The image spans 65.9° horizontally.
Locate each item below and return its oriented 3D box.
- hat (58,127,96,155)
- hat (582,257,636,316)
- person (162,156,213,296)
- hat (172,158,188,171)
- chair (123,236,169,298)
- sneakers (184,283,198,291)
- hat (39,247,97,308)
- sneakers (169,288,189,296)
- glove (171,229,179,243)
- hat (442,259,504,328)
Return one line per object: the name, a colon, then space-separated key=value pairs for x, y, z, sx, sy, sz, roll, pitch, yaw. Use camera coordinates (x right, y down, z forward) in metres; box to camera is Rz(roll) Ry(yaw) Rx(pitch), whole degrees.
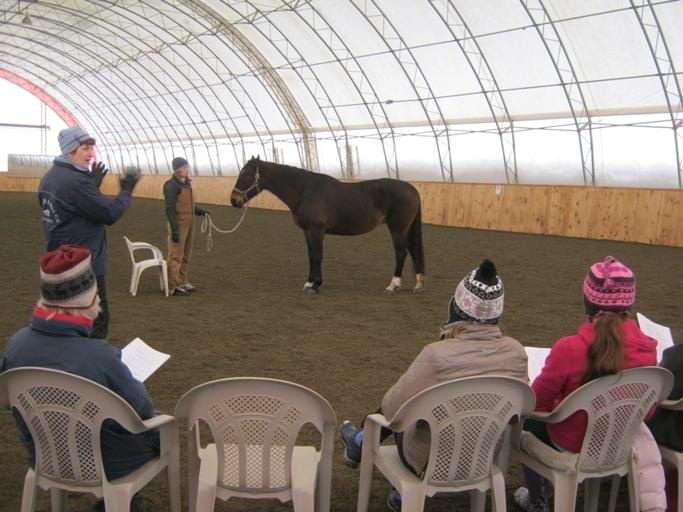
hat: x=-2.134 y=-0.939 z=4.296 sx=0.269 sy=0.261 sz=0.229 roll=-3 pitch=-8 yaw=-31
hat: x=1.540 y=0.180 z=3.055 sx=0.237 sy=0.359 sz=0.346 roll=5 pitch=2 yaw=28
person: x=-2.468 y=-0.466 z=8.151 sx=0.302 sy=2.107 sz=0.555 roll=0 pitch=3 yaw=21
hat: x=-2.483 y=-1.418 z=8.193 sx=0.221 sy=0.258 sz=0.428 roll=-2 pitch=5 yaw=-18
chair: x=-3.073 y=0.148 z=8.473 sx=0.584 sy=0.970 sz=0.595 roll=-2 pitch=5 yaw=-13
sneakers: x=-2.369 y=0.490 z=8.431 sx=0.085 sy=0.122 sz=0.273 roll=4 pitch=11 yaw=3
hat: x=-1.507 y=0.109 z=2.915 sx=0.222 sy=0.312 sz=0.296 roll=-3 pitch=15 yaw=-11
sneakers: x=-2.472 y=0.561 z=8.162 sx=0.286 sy=0.135 sz=0.139 roll=1 pitch=-10 yaw=4
glove: x=-2.478 y=-0.302 z=7.948 sx=0.113 sy=0.206 sz=0.115 roll=-2 pitch=4 yaw=-26
hat: x=0.786 y=0.236 z=3.081 sx=0.306 sy=0.436 sz=0.267 roll=10 pitch=20 yaw=11
